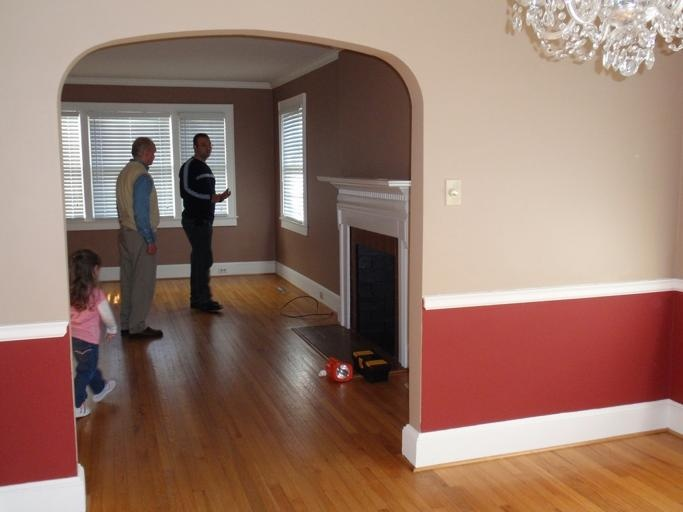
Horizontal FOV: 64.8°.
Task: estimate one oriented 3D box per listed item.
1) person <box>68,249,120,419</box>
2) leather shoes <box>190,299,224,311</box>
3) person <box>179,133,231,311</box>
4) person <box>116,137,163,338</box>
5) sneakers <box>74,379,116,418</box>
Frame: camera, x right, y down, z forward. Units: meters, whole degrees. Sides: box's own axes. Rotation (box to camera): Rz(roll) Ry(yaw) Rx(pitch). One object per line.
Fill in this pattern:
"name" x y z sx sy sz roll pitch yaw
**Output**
"person" -1.665 0.506 3.612 0.274 1.117 0.612 -4 10 -24
"leather shoes" -1.545 0.566 6.271 0.377 0.185 0.150 0 6 2
"person" -1.579 -0.372 6.142 0.509 1.993 0.246 4 9 23
"person" -1.891 -0.158 5.087 0.520 1.894 0.341 8 12 42
"sneakers" -1.719 1.002 3.740 0.076 0.100 0.247 6 33 24
